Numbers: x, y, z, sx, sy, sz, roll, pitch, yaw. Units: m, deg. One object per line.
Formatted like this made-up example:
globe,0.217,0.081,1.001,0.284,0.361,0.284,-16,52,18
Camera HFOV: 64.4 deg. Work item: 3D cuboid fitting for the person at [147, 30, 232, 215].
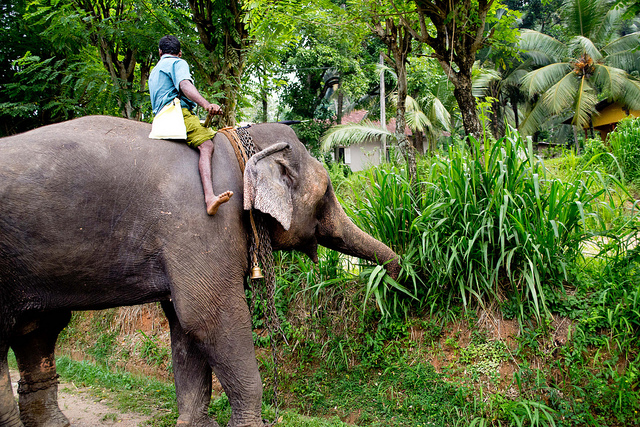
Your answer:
person,-1.196,-0.848,4.620,0.733,1.596,0.678,-11,1,-26
